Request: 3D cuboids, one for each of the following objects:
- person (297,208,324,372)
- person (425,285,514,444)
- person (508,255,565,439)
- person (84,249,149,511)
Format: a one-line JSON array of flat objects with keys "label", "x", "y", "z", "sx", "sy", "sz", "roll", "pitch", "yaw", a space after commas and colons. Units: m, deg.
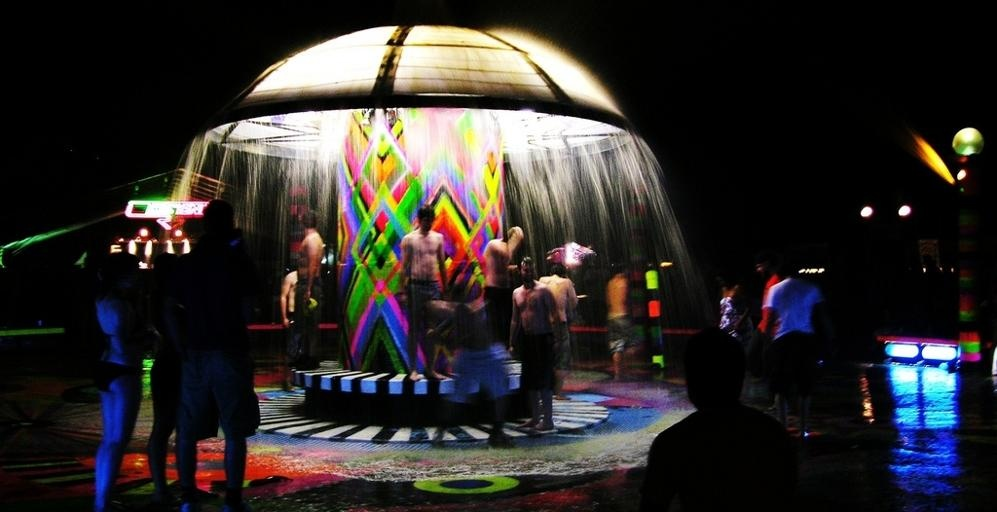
[{"label": "person", "x": -4.353, "y": 0.766, "z": 16.722, "sx": 0.545, "sy": 3.457, "sz": 0.882, "roll": 1, "pitch": -10, "yaw": -15}, {"label": "person", "x": -0.552, "y": 2.103, "z": 14.646, "sx": 1.541, "sy": 3.022, "sz": 0.962, "roll": -1, "pitch": -9, "yaw": -1}, {"label": "person", "x": 0.723, "y": 1.750, "z": 14.831, "sx": 0.865, "sy": 3.469, "sz": 0.739, "roll": -1, "pitch": -9, "yaw": 3}, {"label": "person", "x": -5.940, "y": 1.938, "z": 11.409, "sx": 0.694, "sy": 3.978, "sz": 0.877, "roll": 8, "pitch": -13, "yaw": -43}]
